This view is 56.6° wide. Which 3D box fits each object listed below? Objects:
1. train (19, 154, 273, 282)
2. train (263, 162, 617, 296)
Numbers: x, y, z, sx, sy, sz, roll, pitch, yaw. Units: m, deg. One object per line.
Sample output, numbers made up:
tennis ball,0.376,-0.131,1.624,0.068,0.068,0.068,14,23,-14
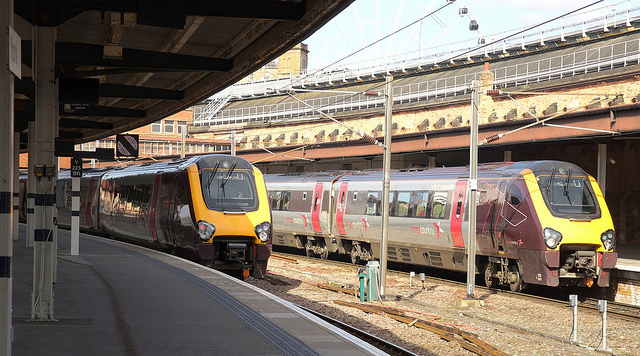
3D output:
train,-9.382,1.456,32.506,3.051,4.538,20.372,5,1,-38
train,3.281,1.988,32.212,9.806,6.260,21.783,5,2,-35
